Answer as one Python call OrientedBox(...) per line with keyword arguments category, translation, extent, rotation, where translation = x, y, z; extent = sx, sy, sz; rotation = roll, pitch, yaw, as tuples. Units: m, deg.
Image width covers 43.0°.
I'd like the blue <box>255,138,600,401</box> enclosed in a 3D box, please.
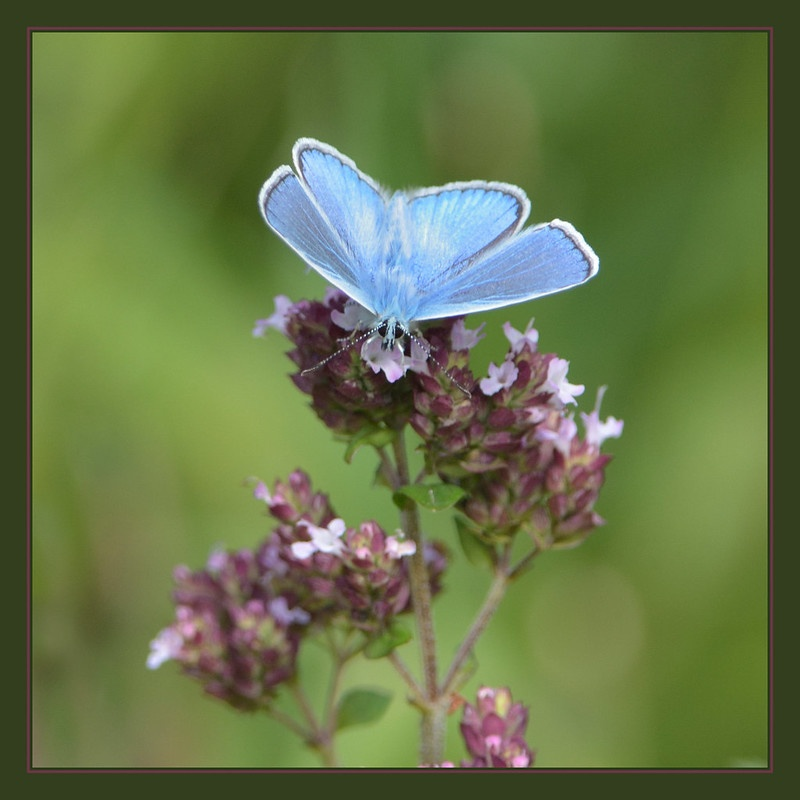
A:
OrientedBox(category="blue", translation=(0.052, -0.613, 4.019), extent=(1.296, 0.927, 0.903), rotation=(3, -83, 7))
